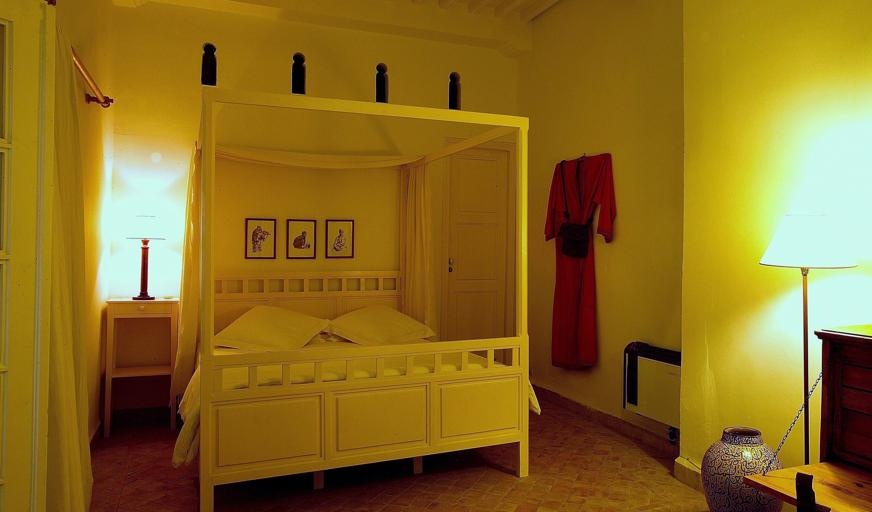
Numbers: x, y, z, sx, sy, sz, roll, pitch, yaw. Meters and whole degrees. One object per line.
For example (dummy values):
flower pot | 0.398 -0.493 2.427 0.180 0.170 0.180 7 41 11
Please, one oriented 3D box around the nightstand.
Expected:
nightstand | -2.932 1.063 6.309 0.730 1.180 0.515 2 -5 -23

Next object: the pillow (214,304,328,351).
pillow | -1.439 0.668 5.511 0.770 0.236 0.738 3 13 14

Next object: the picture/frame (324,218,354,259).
picture/frame | -0.994 -0.181 6.430 0.436 0.565 0.047 0 -1 -15

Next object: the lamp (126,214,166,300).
lamp | -2.882 0.008 6.299 0.342 0.842 0.456 -6 14 -26
